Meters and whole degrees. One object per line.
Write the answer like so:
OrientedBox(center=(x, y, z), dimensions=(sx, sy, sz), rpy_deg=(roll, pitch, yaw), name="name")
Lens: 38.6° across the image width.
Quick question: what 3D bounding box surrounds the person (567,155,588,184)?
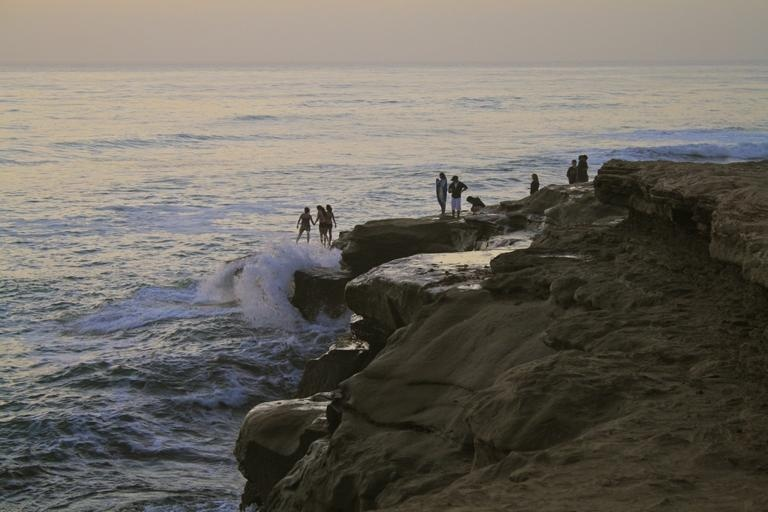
OrientedBox(center=(6.491, -2.894, 36.623), dimensions=(0.621, 0.907, 1.445), rpy_deg=(1, 14, 9), name="person")
